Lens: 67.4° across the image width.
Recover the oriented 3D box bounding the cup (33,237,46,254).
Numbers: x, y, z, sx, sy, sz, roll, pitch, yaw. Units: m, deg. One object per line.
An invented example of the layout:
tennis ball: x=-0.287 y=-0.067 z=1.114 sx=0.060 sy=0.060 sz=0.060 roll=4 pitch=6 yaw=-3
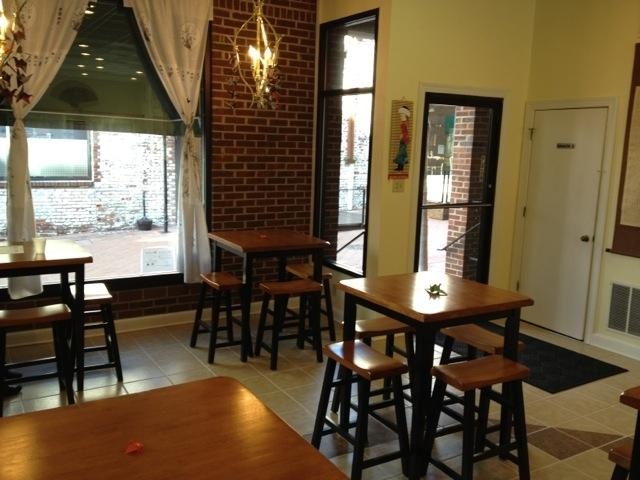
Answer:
cup: x=-2.098 y=0.041 z=3.577 sx=0.118 sy=0.126 sz=0.115 roll=0 pitch=4 yaw=0

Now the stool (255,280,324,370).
stool: x=-0.280 y=0.763 z=4.412 sx=0.560 sy=0.722 sz=0.532 roll=-1 pitch=5 yaw=-22

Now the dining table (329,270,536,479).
dining table: x=0.670 y=0.813 z=3.346 sx=1.201 sy=1.119 sz=1.165 roll=-8 pitch=16 yaw=-30

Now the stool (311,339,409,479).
stool: x=0.257 y=1.069 z=2.959 sx=0.511 sy=0.819 sz=0.683 roll=-4 pitch=11 yaw=-26

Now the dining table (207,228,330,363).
dining table: x=-0.667 y=0.346 z=4.701 sx=1.197 sy=1.117 sz=1.168 roll=-4 pitch=12 yaw=-34

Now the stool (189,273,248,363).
stool: x=-0.969 y=0.750 z=4.522 sx=0.501 sy=0.845 sz=0.602 roll=-4 pitch=15 yaw=-31
